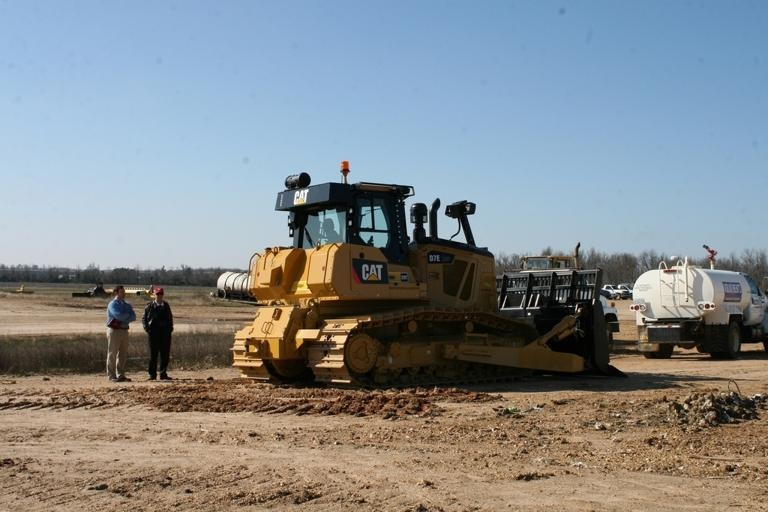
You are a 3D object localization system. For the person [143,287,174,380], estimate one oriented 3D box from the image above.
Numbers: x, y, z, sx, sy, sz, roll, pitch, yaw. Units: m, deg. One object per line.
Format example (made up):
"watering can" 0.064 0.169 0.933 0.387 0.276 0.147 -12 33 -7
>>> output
"person" -5.591 1.869 20.203 0.692 2.187 0.738 3 -3 -15

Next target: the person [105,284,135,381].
"person" -6.501 1.836 20.238 0.612 2.269 1.291 3 -3 -18

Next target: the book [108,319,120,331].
"book" -6.531 1.611 19.863 0.313 0.255 0.120 2 -3 -3

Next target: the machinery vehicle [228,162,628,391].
"machinery vehicle" 0.872 0.450 19.901 8.420 4.621 4.797 -1 1 -29

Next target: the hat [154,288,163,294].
"hat" -5.572 0.841 20.256 0.260 0.132 0.388 0 -3 -10
